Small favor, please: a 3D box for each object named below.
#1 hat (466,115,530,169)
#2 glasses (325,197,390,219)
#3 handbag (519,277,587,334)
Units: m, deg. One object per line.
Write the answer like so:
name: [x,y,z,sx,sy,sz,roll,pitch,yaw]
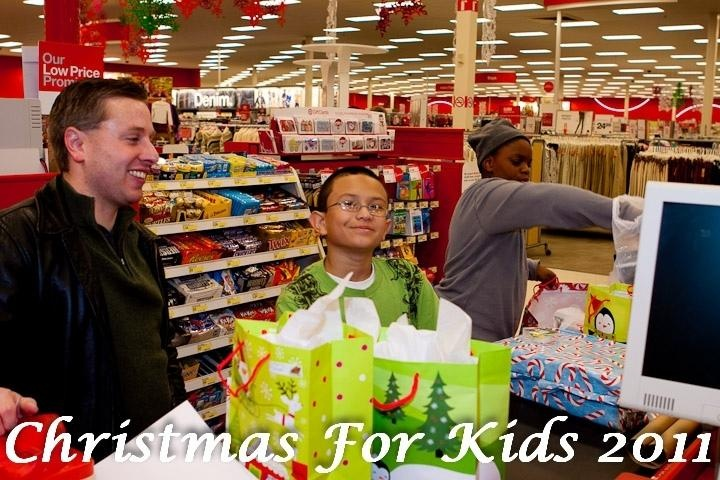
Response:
hat: [0.858,-0.574,2.766,0.339,0.341,0.258,-6,-3,22]
glasses: [-0.004,-0.114,1.563,0.208,0.059,0.090,1,8,-4]
handbag: [0.872,0.305,2.041,0.257,0.200,0.328,6,9,25]
